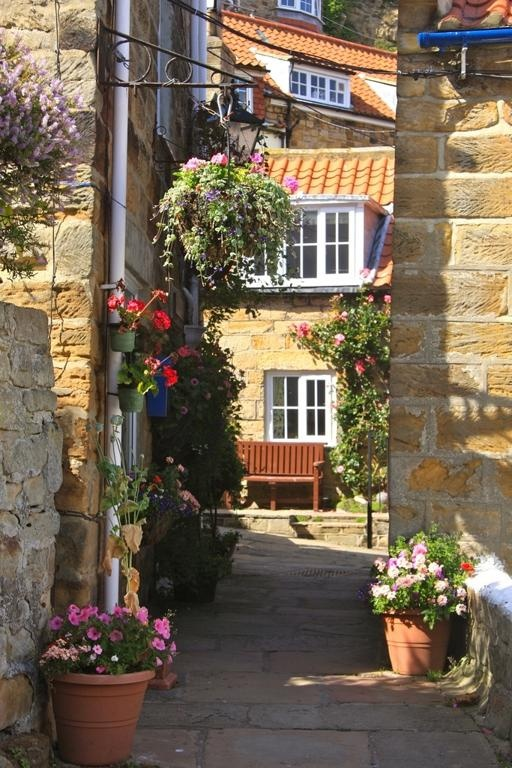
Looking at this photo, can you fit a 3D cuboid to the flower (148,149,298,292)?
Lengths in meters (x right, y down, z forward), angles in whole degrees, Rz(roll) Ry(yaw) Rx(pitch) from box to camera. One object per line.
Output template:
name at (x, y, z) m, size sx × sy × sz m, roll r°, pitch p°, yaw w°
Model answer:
flower at (-0.178, -0.962, 6.948) m, size 0.988 × 0.945 × 0.971 m, roll 1°, pitch 1°, yaw 31°

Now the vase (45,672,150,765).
vase at (-0.632, 1.304, 4.499) m, size 0.385 × 0.272 × 0.375 m, roll 1°, pitch -8°, yaw -6°

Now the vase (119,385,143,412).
vase at (-0.622, 0.073, 5.660) m, size 0.131 × 0.130 × 0.125 m, roll -1°, pitch -9°, yaw -5°

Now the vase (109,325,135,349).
vase at (-0.649, -0.225, 5.487) m, size 0.109 × 0.080 × 0.107 m, roll 0°, pitch -2°, yaw 8°

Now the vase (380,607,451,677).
vase at (0.821, 1.342, 6.027) m, size 0.352 × 0.247 × 0.343 m, roll 1°, pitch -5°, yaw -8°

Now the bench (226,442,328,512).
bench at (0.270, 1.116, 13.471) m, size 1.119 × 0.783 × 0.451 m, roll 0°, pitch -5°, yaw 6°

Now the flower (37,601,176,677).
flower at (-0.603, 1.048, 4.683) m, size 0.375 × 0.200 × 0.665 m, roll 0°, pitch 0°, yaw 37°
